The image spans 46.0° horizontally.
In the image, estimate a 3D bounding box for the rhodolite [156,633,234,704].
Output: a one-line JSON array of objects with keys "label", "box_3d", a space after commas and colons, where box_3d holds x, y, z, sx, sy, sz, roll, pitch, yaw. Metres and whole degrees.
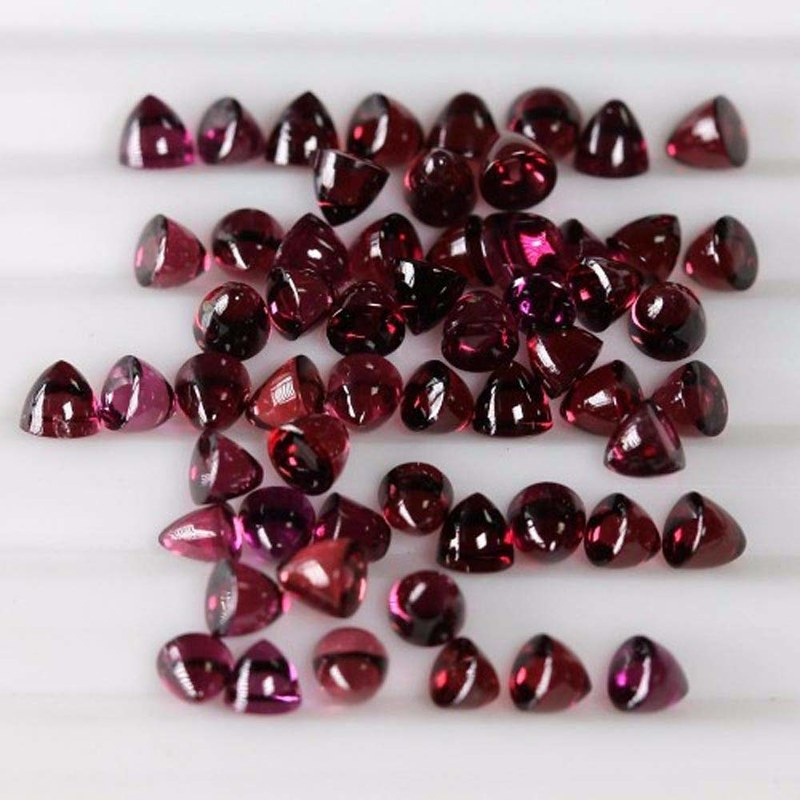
[{"label": "rhodolite", "box_3d": [-0.184, 0.240, 0.847, 0.048, 0.073, 0.035, -9, 7, -11]}]

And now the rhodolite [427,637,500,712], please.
[{"label": "rhodolite", "box_3d": [0.056, 0.250, 0.853, 0.052, 0.067, 0.036, 10, -17, 1]}]

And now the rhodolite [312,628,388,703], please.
[{"label": "rhodolite", "box_3d": [-0.043, 0.245, 0.868, 0.082, 0.029, 0.094, -1, 13, -3]}]

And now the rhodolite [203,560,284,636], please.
[{"label": "rhodolite", "box_3d": [-0.145, 0.189, 0.879, 0.076, 0.042, 0.073, -6, 32, -24]}]

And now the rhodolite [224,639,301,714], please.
[{"label": "rhodolite", "box_3d": [-0.123, 0.254, 0.855, 0.069, 0.064, 0.023, 2, -2, -14]}]

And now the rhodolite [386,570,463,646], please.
[{"label": "rhodolite", "box_3d": [0.023, 0.182, 0.864, 0.055, 0.072, 0.035, -3, -4, 3]}]

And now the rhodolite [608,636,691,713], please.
[{"label": "rhodolite", "box_3d": [0.228, 0.235, 0.858, 0.054, 0.078, 0.042, -4, -4, 2]}]

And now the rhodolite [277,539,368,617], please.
[{"label": "rhodolite", "box_3d": [-0.064, 0.152, 0.840, 0.064, 0.075, 0.042, 27, 26, 16]}]

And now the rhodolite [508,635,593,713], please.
[{"label": "rhodolite", "box_3d": [0.138, 0.264, 0.888, 0.078, 0.073, 0.097, 2, 7, 14]}]
